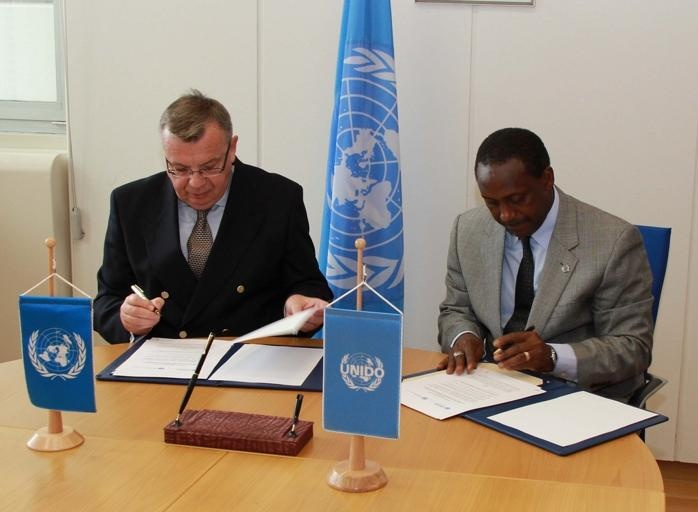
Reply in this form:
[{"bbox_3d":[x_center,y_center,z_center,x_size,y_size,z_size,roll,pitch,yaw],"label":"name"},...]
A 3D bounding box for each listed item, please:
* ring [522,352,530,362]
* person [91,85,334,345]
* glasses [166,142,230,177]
[{"bbox_3d":[0.552,0.314,1.797,0.006,0.023,0.023,-2,13,-7],"label":"ring"},{"bbox_3d":[-0.564,-0.169,2.295,0.877,0.933,0.599,-7,13,-30],"label":"person"},{"bbox_3d":[-0.582,-0.354,2.228,0.223,0.103,0.105,-4,11,-16],"label":"glasses"}]
